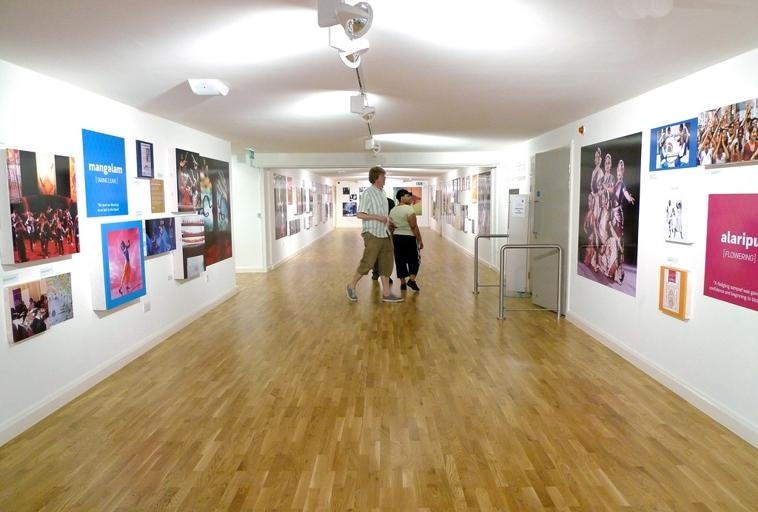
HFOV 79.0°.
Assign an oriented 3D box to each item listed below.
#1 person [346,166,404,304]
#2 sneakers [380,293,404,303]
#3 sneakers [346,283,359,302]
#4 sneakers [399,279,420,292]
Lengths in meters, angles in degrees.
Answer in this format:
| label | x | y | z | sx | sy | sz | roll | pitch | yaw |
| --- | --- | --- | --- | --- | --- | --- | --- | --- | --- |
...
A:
| label | x | y | z | sx | sy | sz | roll | pitch | yaw |
| --- | --- | --- | --- | --- | --- | --- | --- | --- | --- |
| person | -0.068 | -0.341 | 7.727 | 0.836 | 2.267 | 0.783 | -1 | 13 | -2 |
| sneakers | 0.226 | 0.704 | 7.690 | 0.285 | 0.122 | 0.143 | -1 | -2 | 5 |
| sneakers | -0.465 | 0.622 | 7.776 | 0.141 | 0.132 | 0.310 | 17 | 28 | -46 |
| sneakers | 0.594 | 0.554 | 8.560 | 0.429 | 0.197 | 0.146 | 8 | 2 | 19 |
